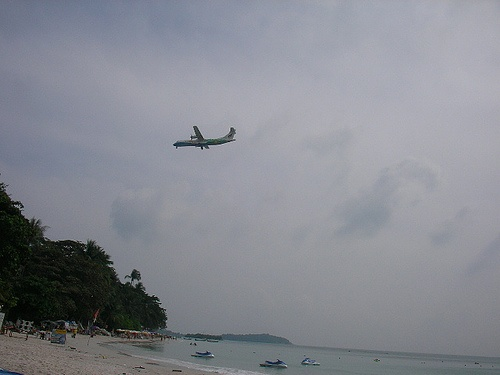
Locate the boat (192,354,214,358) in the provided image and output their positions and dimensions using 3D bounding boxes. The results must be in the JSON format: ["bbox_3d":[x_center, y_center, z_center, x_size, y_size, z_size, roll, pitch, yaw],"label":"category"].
[{"bbox_3d":[-8.815,30.744,87.368,2.858,0.649,1.535,3,-19,10],"label":"boat"}]
